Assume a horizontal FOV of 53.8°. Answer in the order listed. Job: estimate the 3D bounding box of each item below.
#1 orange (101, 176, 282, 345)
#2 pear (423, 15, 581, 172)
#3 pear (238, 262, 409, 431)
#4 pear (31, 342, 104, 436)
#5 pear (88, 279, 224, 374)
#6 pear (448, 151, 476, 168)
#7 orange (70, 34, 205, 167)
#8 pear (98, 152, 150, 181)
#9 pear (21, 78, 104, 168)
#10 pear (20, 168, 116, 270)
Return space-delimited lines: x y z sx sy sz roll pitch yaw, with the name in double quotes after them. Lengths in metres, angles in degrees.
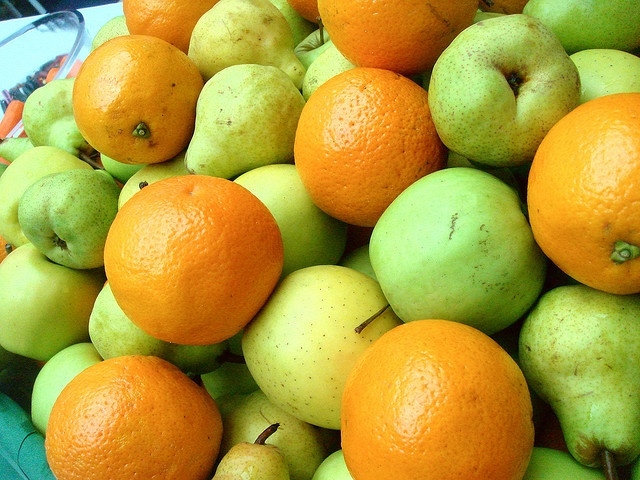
-0.234 0.031 1.208 0.315 0.344 0.332 10 106 37 "orange"
0.329 -0.247 1.159 0.227 0.242 0.249 24 70 31 "pear"
0.000 0.144 1.239 0.300 0.276 0.271 27 114 24 "pear"
-0.486 0.290 1.218 0.154 0.126 0.126 -57 30 1 "pear"
-0.336 0.201 1.321 0.227 0.174 0.190 14 105 -16 "pear"
0.275 -0.151 1.206 0.042 0.033 0.036 6 81 9 "pear"
-0.410 -0.293 1.353 0.218 0.243 0.244 18 37 11 "orange"
-0.483 -0.171 1.535 0.099 0.086 0.092 -5 92 -7 "pear"
-0.609 -0.272 1.502 0.126 0.121 0.175 -41 84 -22 "pear"
-0.530 -0.082 1.439 0.163 0.168 0.165 -17 99 40 "pear"
